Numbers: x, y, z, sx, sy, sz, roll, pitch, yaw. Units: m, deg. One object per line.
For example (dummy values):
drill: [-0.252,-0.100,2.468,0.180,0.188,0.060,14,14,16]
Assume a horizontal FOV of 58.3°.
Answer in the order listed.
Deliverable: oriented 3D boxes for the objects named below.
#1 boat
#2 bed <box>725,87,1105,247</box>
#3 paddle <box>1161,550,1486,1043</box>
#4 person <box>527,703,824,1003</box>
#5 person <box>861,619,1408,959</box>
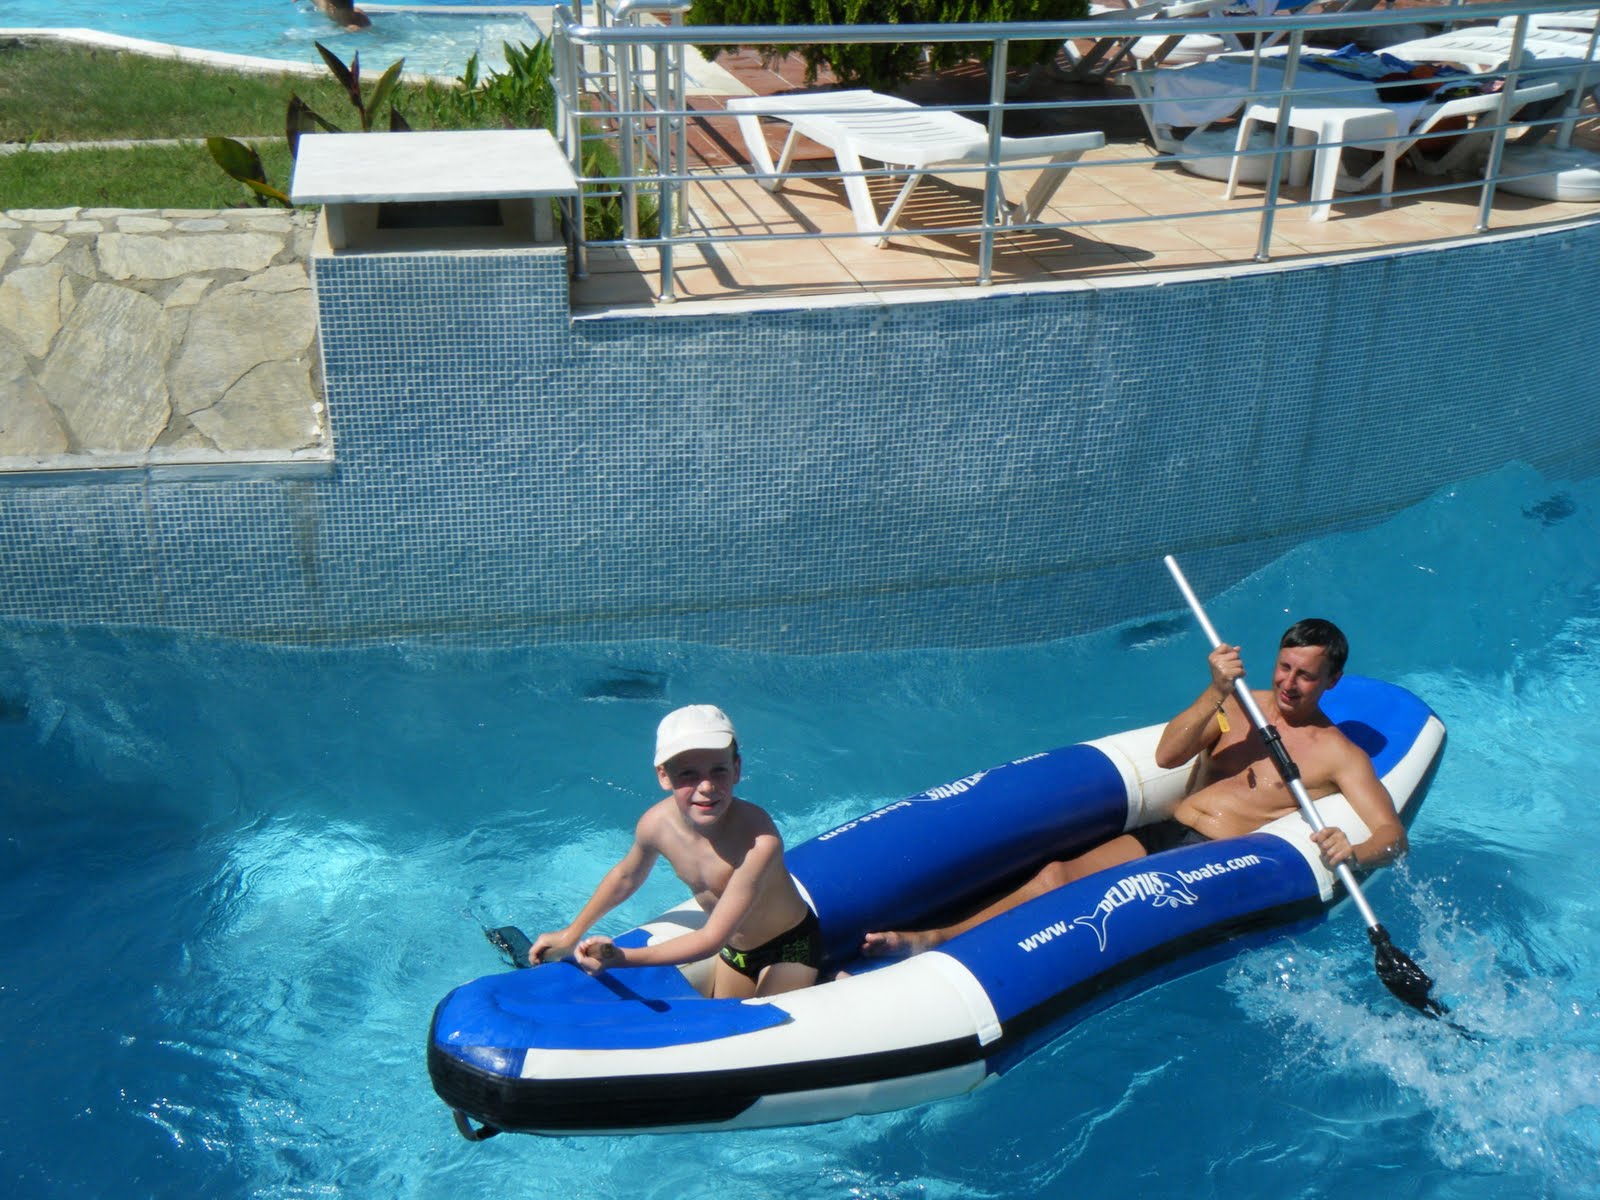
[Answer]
boat: [0.947,1.329,5.466,4.290,0.504,1.272,-16,39,-16]
bed: [0.568,-2.289,7.685,1.162,0.521,2.292,-16,33,-24]
paddle: [2.153,0.875,5.987,0.329,2.422,0.155,-42,-21,23]
person: [-0.359,0.917,4.742,0.962,1.215,0.382,-10,21,-16]
person: [1.277,0.794,5.329,2.445,0.868,1.164,-16,34,-32]
